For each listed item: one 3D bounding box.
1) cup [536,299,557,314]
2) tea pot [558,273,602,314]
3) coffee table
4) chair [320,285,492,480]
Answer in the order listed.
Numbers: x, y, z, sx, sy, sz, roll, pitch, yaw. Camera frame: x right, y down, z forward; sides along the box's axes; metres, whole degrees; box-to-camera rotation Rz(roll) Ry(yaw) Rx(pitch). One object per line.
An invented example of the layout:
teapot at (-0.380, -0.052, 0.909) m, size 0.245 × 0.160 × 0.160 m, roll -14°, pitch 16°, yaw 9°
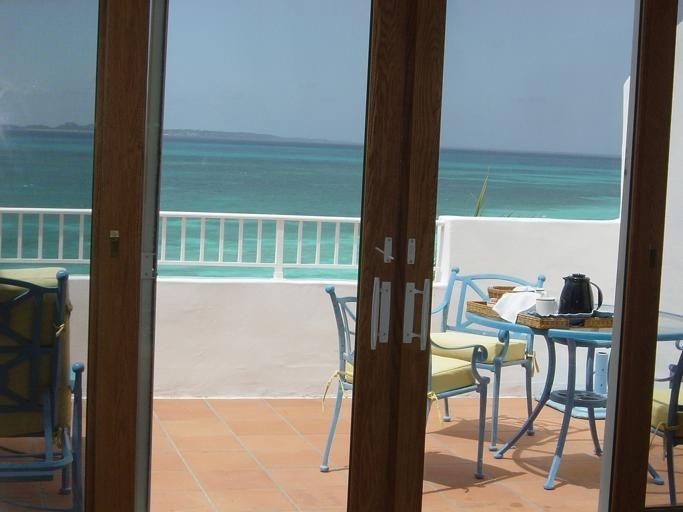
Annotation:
cup at (0.948, 0.233, 3.891) m, size 0.076 × 0.063 × 0.062 m, roll 1°, pitch -1°, yaw -5°
tea pot at (1.142, 0.176, 4.023) m, size 0.200 × 0.238 × 0.170 m, roll 1°, pitch 0°, yaw 18°
coffee table at (1.118, 0.595, 4.002) m, size 0.729 × 0.591 × 0.768 m, roll 1°, pitch 3°, yaw -14°
chair at (0.278, 0.541, 3.735) m, size 0.583 × 0.973 × 0.544 m, roll -14°, pitch 22°, yaw -38°
